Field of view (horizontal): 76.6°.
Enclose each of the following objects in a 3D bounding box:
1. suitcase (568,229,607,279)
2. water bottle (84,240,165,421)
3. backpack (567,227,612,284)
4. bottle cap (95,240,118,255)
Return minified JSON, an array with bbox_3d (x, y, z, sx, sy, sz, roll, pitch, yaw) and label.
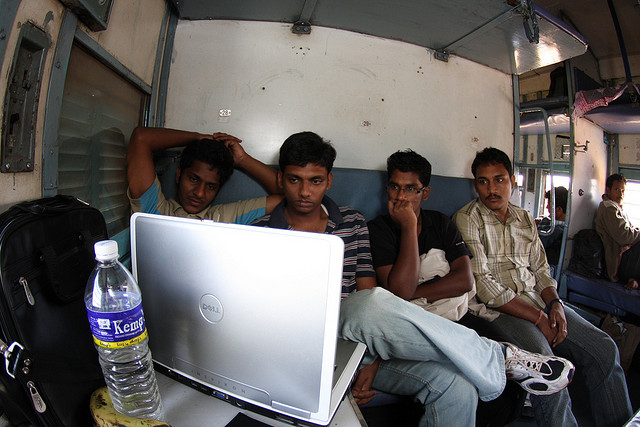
[{"bbox_3d":[2.765,0.430,4.168,0.294,0.478,0.429,12,-4,0],"label":"suitcase"},{"bbox_3d":[-0.753,0.490,1.547,0.240,0.786,0.252,-5,12,1],"label":"water bottle"},{"bbox_3d":[2.866,0.369,4.286,0.511,0.595,0.334,-24,27,-37],"label":"backpack"},{"bbox_3d":[-0.772,0.122,1.452,0.058,0.035,0.058,0,4,17],"label":"bottle cap"}]
